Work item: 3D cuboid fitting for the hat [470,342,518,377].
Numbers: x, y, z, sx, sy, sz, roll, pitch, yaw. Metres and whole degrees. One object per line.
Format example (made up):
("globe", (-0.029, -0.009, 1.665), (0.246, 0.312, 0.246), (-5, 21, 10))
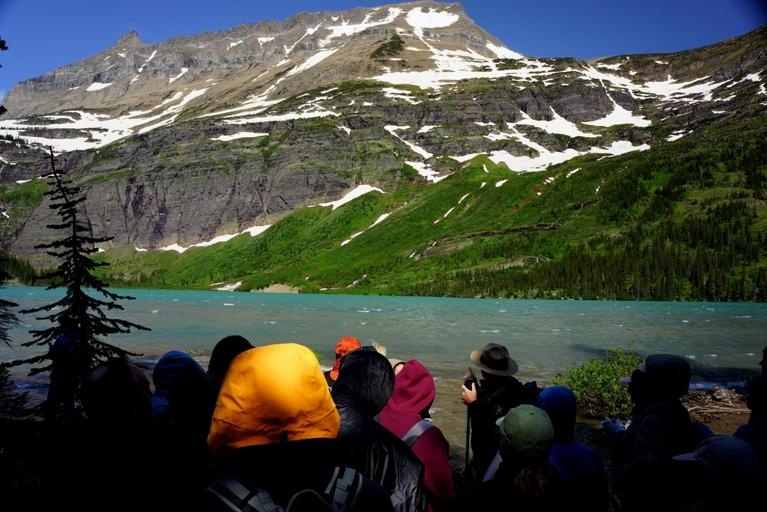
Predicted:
("hat", (2.270, 2.030, 12.194), (1.062, 0.299, 0.974), (5, 14, -29))

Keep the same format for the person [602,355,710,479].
("person", (4.847, 2.769, 10.544), (1.576, 2.109, 0.721), (-1, 0, 21))

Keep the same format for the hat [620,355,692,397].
("hat", (4.972, 2.088, 10.751), (1.174, 0.419, 0.747), (-3, 1, 37))
